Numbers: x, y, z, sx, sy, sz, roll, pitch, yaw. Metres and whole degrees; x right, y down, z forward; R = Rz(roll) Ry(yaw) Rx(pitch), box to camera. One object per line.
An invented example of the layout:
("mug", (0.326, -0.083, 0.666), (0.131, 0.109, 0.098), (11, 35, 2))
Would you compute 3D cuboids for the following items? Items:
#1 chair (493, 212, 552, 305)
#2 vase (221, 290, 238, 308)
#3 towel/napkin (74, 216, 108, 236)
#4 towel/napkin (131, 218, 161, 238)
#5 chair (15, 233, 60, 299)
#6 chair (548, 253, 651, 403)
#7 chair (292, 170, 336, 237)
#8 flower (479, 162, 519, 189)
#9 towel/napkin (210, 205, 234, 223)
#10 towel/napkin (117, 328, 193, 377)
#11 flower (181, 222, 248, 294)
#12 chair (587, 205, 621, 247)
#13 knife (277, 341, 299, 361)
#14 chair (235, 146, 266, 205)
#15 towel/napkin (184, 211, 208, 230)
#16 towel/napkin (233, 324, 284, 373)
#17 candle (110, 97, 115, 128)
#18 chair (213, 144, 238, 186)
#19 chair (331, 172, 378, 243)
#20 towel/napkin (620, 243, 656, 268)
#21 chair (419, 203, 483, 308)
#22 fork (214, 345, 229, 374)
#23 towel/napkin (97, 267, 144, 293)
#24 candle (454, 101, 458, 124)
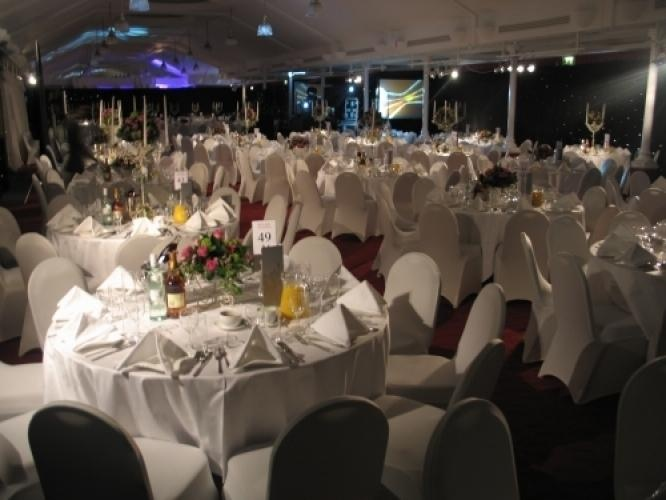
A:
("chair", (2.075, 0.215, 5.790), (0.539, 0.889, 0.558), (-33, 18, -29))
("vase", (-0.656, 0.305, 3.206), (0.077, 0.062, 0.087), (-2, 16, -16))
("towel/napkin", (-2.343, -0.220, 4.886), (0.217, 0.092, 0.189), (5, 31, 17))
("towel/napkin", (-1.767, -0.228, 4.832), (0.245, 0.159, 0.390), (-5, 13, -20))
("chair", (-2.315, 0.134, 3.972), (0.248, 0.311, 0.422), (31, 40, 22))
("chair", (2.144, 0.530, 4.156), (0.799, 1.178, 0.806), (9, 18, 43))
("chair", (-0.247, -0.788, 8.304), (0.596, 0.987, 0.596), (10, 18, 39))
("flower", (1.935, -0.852, 5.910), (0.282, 0.198, 0.294), (-19, 30, -28))
("towel/napkin", (-1.203, -0.375, 5.477), (0.167, 0.089, 0.176), (-4, -2, 1))
("towel/napkin", (-0.911, 0.541, 2.610), (0.219, 0.125, 0.257), (5, 9, 11))
("flower", (-0.715, 0.111, 3.233), (0.342, 0.368, 0.380), (20, 13, 7))
("chair", (3.023, -0.334, 5.572), (0.271, 0.332, 0.292), (-5, 1, 14))
("knife", (-0.238, 0.530, 2.687), (0.130, 0.032, 0.063), (49, 30, 23))
("chair", (-1.697, -1.643, 11.087), (0.655, 1.084, 0.703), (12, 23, 20))
("towel/napkin", (-1.376, -0.277, 5.130), (0.147, 0.254, 0.207), (9, 7, 26))
("towel/napkin", (-0.379, 0.510, 2.646), (0.210, 0.263, 0.201), (-2, 6, 20))
("candle", (-2.450, -1.504, 5.661), (0.051, 0.253, 0.304), (-5, 13, -24))
("chair", (-2.597, -2.115, 12.592), (0.543, 1.027, 0.640), (4, 16, 19))
("chair", (0.373, -0.733, 8.041), (0.540, 1.104, 0.602), (8, 17, 25))
("towel/napkin", (2.420, 0.055, 4.000), (0.155, 0.103, 0.218), (-11, 18, -12))
("chair", (1.361, -0.045, 5.856), (0.691, 1.158, 0.752), (-10, 20, -7))
("fork", (-0.581, 0.570, 2.657), (0.038, 0.032, 0.217), (1, 27, -11))
("towel/napkin", (-1.314, 0.193, 3.162), (0.202, 0.119, 0.189), (5, 5, 20))
("candle", (2.487, -2.758, 10.138), (0.044, 0.367, 0.745), (2, 13, 15))
